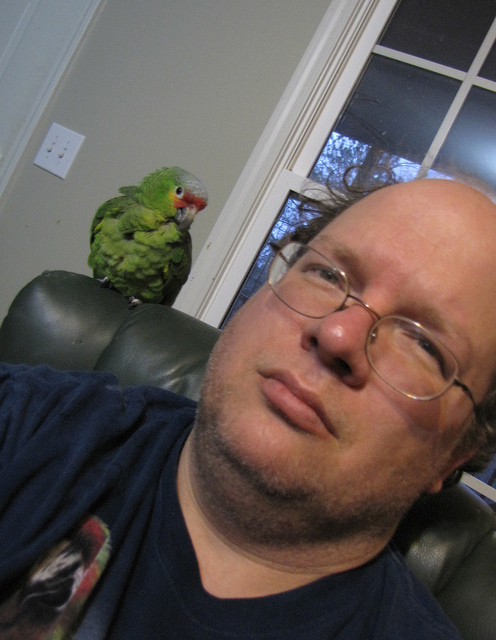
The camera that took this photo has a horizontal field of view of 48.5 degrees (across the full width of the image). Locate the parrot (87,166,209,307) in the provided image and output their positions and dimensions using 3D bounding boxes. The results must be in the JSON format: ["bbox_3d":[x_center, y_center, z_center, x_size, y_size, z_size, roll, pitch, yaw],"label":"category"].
[{"bbox_3d":[-0.298,-0.244,1.623,0.336,0.420,0.387,24,1,-27],"label":"parrot"}]

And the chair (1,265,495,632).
[{"bbox_3d":[0.111,0.178,1.224,0.989,0.518,0.680,23,39,25],"label":"chair"}]
